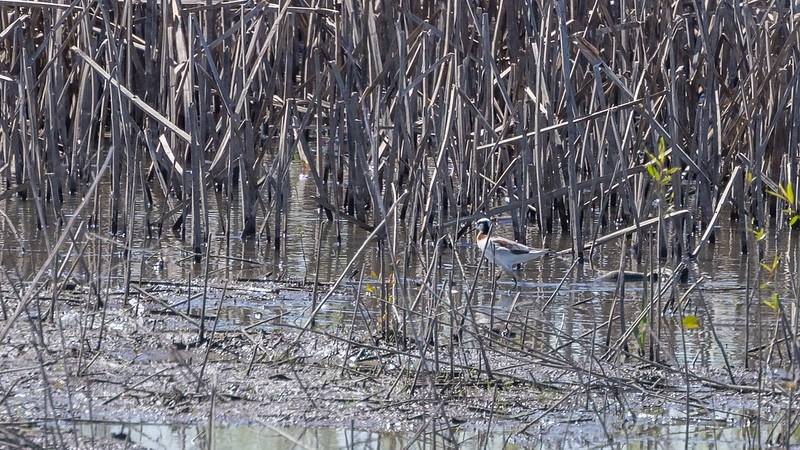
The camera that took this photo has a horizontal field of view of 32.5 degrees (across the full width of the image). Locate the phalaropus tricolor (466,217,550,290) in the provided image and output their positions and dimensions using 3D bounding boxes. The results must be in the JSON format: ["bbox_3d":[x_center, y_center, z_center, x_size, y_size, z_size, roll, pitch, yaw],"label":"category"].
[{"bbox_3d":[1.018,0.216,13.211,0.805,0.599,0.273,-1,3,-16],"label":"phalaropus tricolor"}]
